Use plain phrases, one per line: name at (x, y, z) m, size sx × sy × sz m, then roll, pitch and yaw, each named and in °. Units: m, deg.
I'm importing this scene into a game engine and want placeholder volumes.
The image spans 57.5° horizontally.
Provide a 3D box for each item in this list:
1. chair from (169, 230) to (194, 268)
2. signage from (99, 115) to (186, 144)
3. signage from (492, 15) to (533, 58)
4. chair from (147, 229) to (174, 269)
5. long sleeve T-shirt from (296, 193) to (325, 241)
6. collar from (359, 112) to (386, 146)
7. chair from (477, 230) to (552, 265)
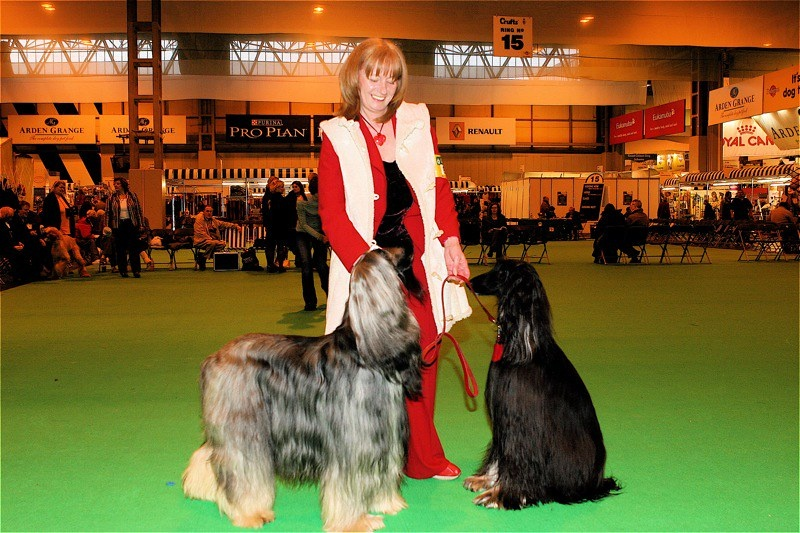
chair at (-5.692, -0.471, 18.950) m, size 0.863 × 1.093 × 0.776 m, roll -5°, pitch 1°, yaw -15°
signage at (-11.570, -6.253, 32.718) m, size 3.352 × 1.397 × 6.442 m, roll -7°, pitch 11°, yaw -29°
signage at (3.143, -6.488, 20.445) m, size 1.520 × 1.580 × 0.201 m, roll -2°, pitch 8°, yaw 1°
chair at (-6.175, -0.450, 18.704) m, size 0.858 × 1.082 × 0.775 m, roll 0°, pitch 2°, yaw -18°
long sleeve T-shirt at (-1.462, -0.828, 11.853) m, size 0.551 × 0.660 × 0.660 m, roll 9°, pitch 6°, yaw 19°
collar at (-0.207, -0.985, 5.258) m, size 0.287 × 0.120 × 0.021 m, roll 49°, pitch 23°, yaw 14°
chair at (3.180, -0.622, 20.209) m, size 1.528 × 1.314 × 1.408 m, roll -3°, pitch -10°, yaw 33°
